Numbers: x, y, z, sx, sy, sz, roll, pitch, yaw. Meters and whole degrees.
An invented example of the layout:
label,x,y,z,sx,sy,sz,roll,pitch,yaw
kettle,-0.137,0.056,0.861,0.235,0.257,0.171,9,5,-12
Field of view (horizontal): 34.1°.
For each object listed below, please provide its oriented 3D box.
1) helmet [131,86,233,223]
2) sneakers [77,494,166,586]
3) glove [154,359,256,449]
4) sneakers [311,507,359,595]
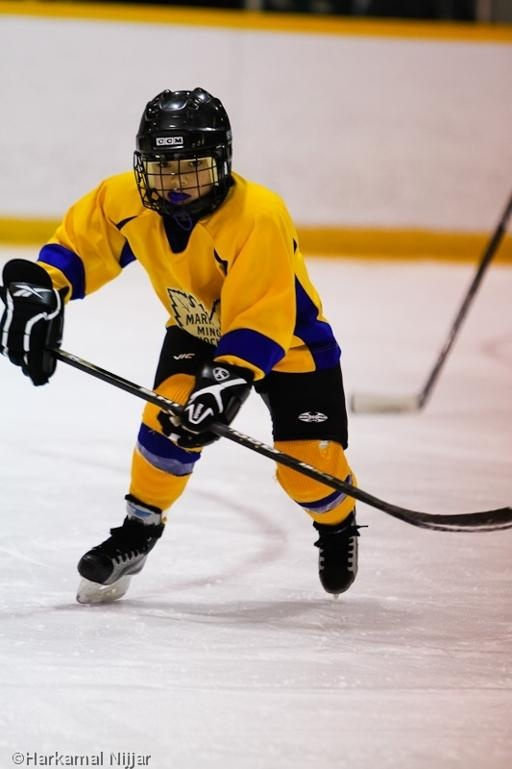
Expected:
label,x,y,z,sx,sy,sz,roll,pitch,yaw
helmet,-0.125,-0.427,1.526,0.181,0.203,0.222,6,27,18
sneakers,-0.256,0.301,1.601,0.080,0.146,0.233,21,3,18
glove,-0.083,0.014,1.403,0.120,0.080,0.193,32,38,-7
sneakers,0.157,0.331,1.653,0.074,0.072,0.154,-14,39,17
